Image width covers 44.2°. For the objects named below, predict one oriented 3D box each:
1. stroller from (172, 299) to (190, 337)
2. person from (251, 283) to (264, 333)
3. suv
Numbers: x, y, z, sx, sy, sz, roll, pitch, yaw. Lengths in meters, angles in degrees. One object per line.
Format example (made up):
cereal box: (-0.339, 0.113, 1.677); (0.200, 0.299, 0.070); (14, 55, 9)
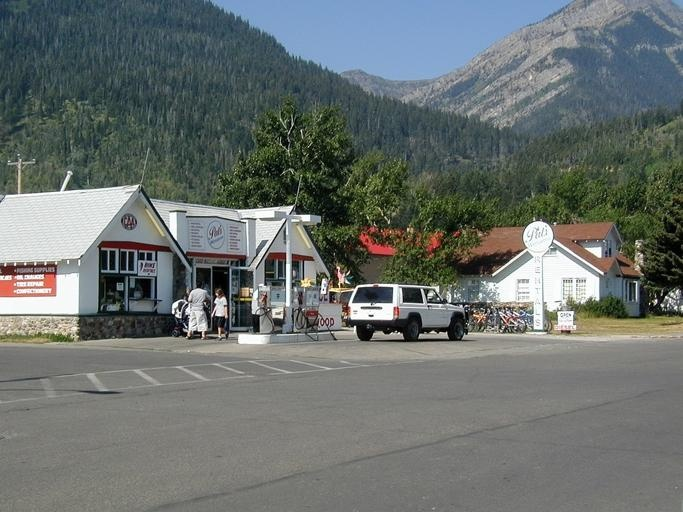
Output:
stroller: (-6.138, 2.319, 32.448); (0.988, 1.390, 0.930); (0, 1, 2)
person: (-3.035, 1.914, 30.374); (0.378, 1.614, 1.487); (-1, -6, -6)
suv: (2.844, 2.214, 32.448); (5.460, 2.144, 1.961); (3, -8, -39)
